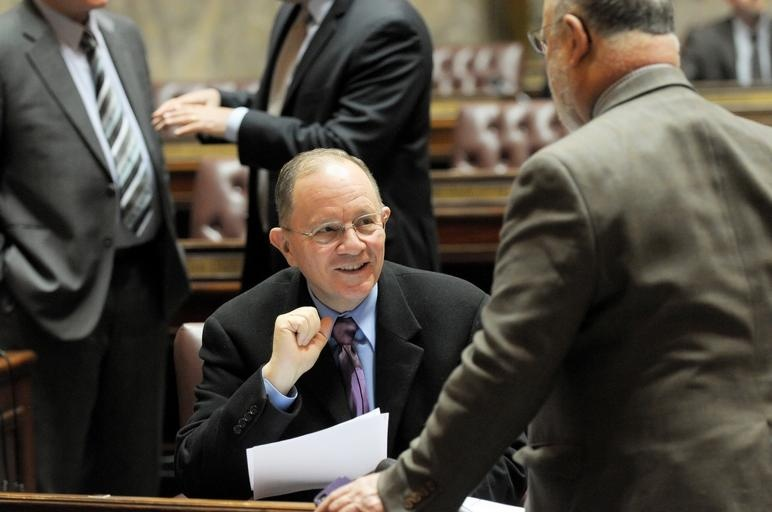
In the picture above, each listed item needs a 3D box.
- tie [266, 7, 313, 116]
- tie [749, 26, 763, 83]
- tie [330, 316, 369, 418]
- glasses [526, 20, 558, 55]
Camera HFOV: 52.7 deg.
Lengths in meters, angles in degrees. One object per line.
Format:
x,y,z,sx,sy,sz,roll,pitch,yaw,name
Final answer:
-0.369,-0.744,3.011,0.071,0.522,0.060,20,5,29,tie
2.678,-1.478,5.635,0.079,0.422,0.077,-2,-4,2,tie
-0.108,0.306,2.274,0.070,0.340,0.082,-22,-25,12,tie
0.363,-0.529,1.870,0.064,0.032,0.069,-20,-13,9,glasses
